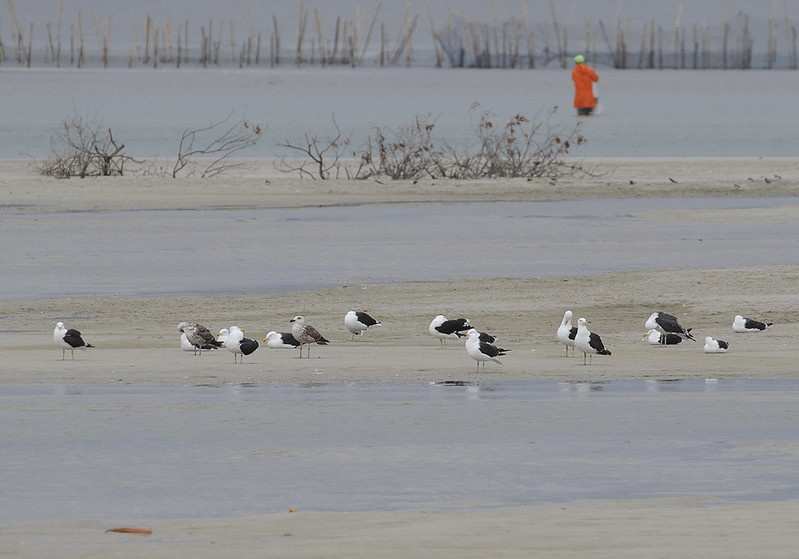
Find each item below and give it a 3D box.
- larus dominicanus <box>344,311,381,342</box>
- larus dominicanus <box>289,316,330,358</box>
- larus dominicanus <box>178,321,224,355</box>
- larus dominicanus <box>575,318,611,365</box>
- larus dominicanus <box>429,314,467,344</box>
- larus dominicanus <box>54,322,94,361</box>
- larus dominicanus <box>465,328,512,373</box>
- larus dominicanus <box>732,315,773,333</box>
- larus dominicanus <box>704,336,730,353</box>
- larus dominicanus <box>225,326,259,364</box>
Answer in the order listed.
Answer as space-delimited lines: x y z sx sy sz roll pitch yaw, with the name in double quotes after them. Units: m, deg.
-0.660 0.762 36.121 0.611 0.498 0.647 -2 9 -1 "larus dominicanus"
-1.548 0.922 35.245 0.567 0.673 0.845 -2 10 1 "larus dominicanus"
-3.440 0.972 35.206 0.427 0.443 0.894 -1 -3 40 "larus dominicanus"
3.302 0.994 34.638 0.600 0.774 0.650 -1 10 4 "larus dominicanus"
0.845 0.820 35.738 0.721 0.364 0.420 -6 -6 36 "larus dominicanus"
-5.598 0.988 34.723 0.616 0.620 0.619 -3 10 -5 "larus dominicanus"
1.457 1.133 34.333 0.622 0.647 0.845 -1 9 3 "larus dominicanus"
6.359 0.756 36.559 0.749 0.266 0.431 -9 12 -41 "larus dominicanus"
5.487 1.106 35.224 0.417 0.192 0.264 4 -6 -37 "larus dominicanus"
-2.714 1.066 34.785 0.549 0.592 0.556 -2 10 -4 "larus dominicanus"
